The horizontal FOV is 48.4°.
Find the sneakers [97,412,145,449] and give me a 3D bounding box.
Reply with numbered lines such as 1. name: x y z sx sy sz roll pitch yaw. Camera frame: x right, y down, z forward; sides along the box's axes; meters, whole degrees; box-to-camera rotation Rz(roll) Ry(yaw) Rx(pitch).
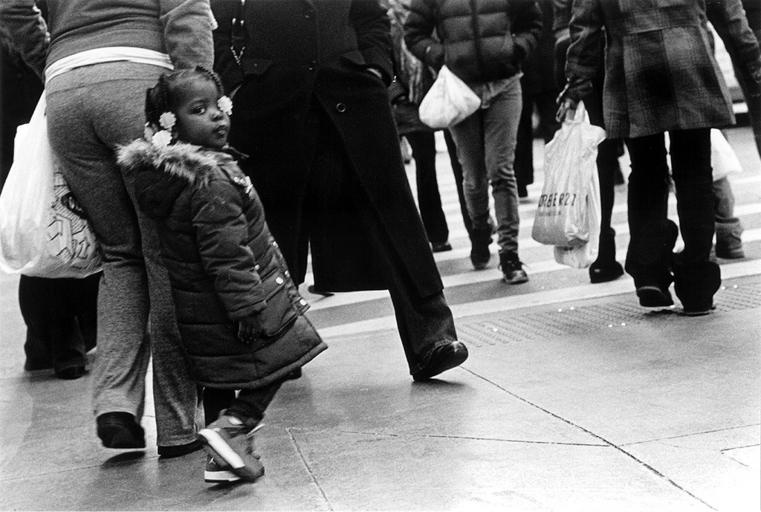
1. sneakers: -1.316 0.886 4.227 0.204 0.228 0.151 -7 14 -4

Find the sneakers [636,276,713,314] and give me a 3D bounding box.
1. sneakers: 2.124 0.298 6.123 0.690 0.241 0.201 -1 12 0

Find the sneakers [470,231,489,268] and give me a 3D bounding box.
1. sneakers: 1.007 -0.074 8.342 0.163 0.377 0.179 0 21 11
